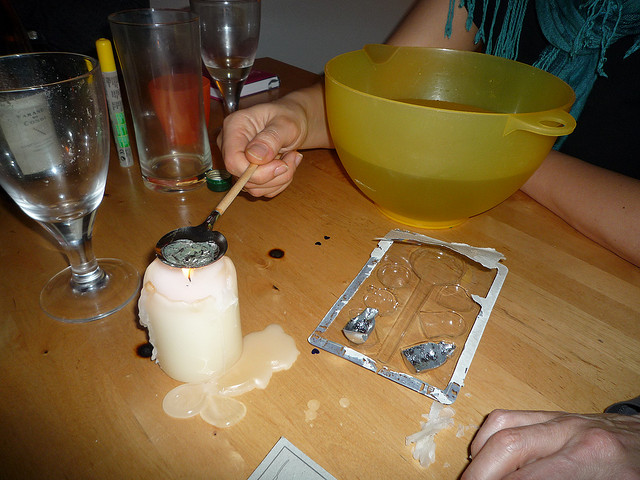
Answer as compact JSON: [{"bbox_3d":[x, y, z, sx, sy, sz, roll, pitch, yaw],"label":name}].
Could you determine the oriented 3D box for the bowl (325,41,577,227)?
[{"bbox_3d":[0.207,-0.174,0.912,0.393,0.251,0.397,3,33,-2],"label":"bowl"}]
